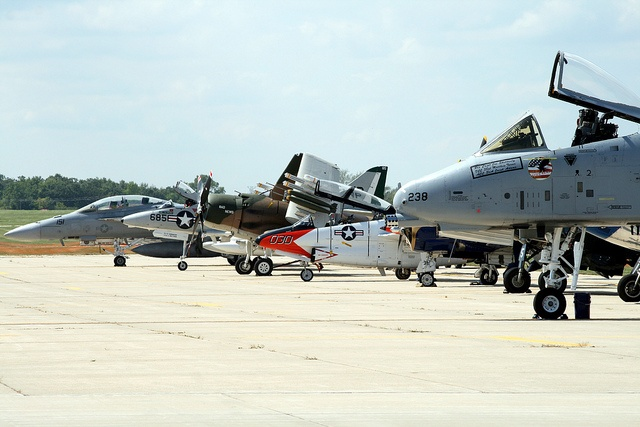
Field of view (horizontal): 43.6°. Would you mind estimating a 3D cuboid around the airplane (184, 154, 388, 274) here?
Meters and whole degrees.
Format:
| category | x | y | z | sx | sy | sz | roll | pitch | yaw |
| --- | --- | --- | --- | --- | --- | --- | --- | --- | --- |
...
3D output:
| category | x | y | z | sx | sy | sz | roll | pitch | yaw |
| --- | --- | --- | --- | --- | --- | --- | --- | --- | --- |
| airplane | -1.501 | -0.092 | 34.944 | 8.590 | 2.496 | 7.100 | 1 | -6 | -8 |
